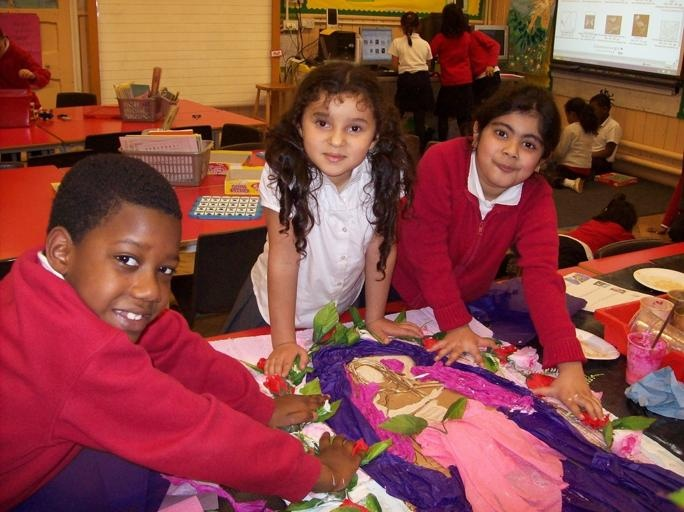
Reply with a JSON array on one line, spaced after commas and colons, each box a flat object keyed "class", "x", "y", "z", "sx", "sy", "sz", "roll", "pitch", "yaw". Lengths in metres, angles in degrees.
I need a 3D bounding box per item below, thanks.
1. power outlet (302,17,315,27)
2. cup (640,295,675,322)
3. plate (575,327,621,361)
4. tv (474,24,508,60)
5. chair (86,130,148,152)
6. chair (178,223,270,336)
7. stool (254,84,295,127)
[{"class": "power outlet", "x": -0.487, "y": -3.440, "z": 7.170, "sx": 0.211, "sy": 0.137, "sz": 0.107, "roll": -1, "pitch": 11, "yaw": -8}, {"class": "cup", "x": 0.884, "y": 0.136, "z": 1.412, "sx": 0.066, "sy": 0.071, "sz": 0.069, "roll": -5, "pitch": 23, "yaw": 2}, {"class": "plate", "x": 0.733, "y": 0.253, "z": 1.454, "sx": 0.126, "sy": 0.173, "sz": 0.030, "roll": 7, "pitch": 40, "yaw": 29}, {"class": "tv", "x": 2.286, "y": -3.314, "z": 7.750, "sx": 0.583, "sy": 0.545, "sz": 0.324, "roll": -2, "pitch": 15, "yaw": -6}, {"class": "chair", "x": -1.563, "y": -0.777, "z": 3.340, "sx": 0.235, "sy": 0.137, "sz": 0.458, "roll": 7, "pitch": 16, "yaw": 22}, {"class": "chair", "x": -0.547, "y": 0.131, "z": 2.117, "sx": 0.380, "sy": 0.345, "sz": 0.551, "roll": 2, "pitch": 50, "yaw": -30}, {"class": "stool", "x": -0.949, "y": -2.012, "z": 6.833, "sx": 0.520, "sy": 0.635, "sz": 0.500, "roll": 21, "pitch": 26, "yaw": 38}]
